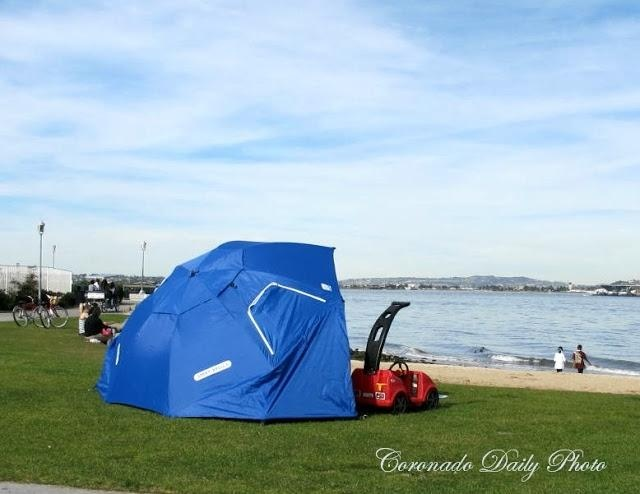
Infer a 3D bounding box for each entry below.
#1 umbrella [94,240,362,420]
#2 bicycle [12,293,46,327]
[{"bbox_3d":[-1.618,1.632,13.349,4.932,3.467,2.113,3,-3,7],"label":"umbrella"},{"bbox_3d":[-14.403,3.093,31.953,2.420,1.476,1.297,2,-1,37],"label":"bicycle"}]
